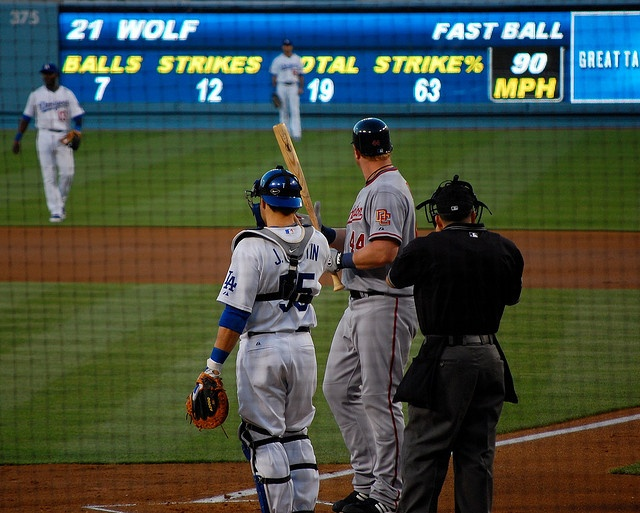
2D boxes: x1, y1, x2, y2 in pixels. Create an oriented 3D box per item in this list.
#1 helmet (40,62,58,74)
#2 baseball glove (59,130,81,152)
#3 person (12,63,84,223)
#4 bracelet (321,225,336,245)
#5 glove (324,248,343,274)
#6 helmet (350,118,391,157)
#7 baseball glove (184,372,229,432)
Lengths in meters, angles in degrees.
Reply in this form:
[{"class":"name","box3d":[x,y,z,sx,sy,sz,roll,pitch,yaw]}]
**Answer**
[{"class":"helmet","box3d":[-4.701,-3.315,23.383,0.234,0.222,0.463,-1,2,-4]},{"class":"baseball glove","box3d":[-4.294,-2.052,23.344,0.139,0.330,0.332,-4,-36,-34]},{"class":"person","box3d":[-4.725,-2.034,23.743,1.116,2.788,1.120,-1,2,-10]},{"class":"bracelet","box3d":[0.117,-0.293,17.858,0.181,0.113,0.235,29,-15,17]},{"class":"glove","box3d":[0.171,0.052,17.146,0.204,0.274,0.110,8,-7,20]},{"class":"helmet","box3d":[0.660,-1.545,17.222,0.420,0.384,0.531,-5,7,-6]},{"class":"baseball glove","box3d":[-1.395,1.809,16.665,0.545,0.671,0.315,-16,-6,34]}]
